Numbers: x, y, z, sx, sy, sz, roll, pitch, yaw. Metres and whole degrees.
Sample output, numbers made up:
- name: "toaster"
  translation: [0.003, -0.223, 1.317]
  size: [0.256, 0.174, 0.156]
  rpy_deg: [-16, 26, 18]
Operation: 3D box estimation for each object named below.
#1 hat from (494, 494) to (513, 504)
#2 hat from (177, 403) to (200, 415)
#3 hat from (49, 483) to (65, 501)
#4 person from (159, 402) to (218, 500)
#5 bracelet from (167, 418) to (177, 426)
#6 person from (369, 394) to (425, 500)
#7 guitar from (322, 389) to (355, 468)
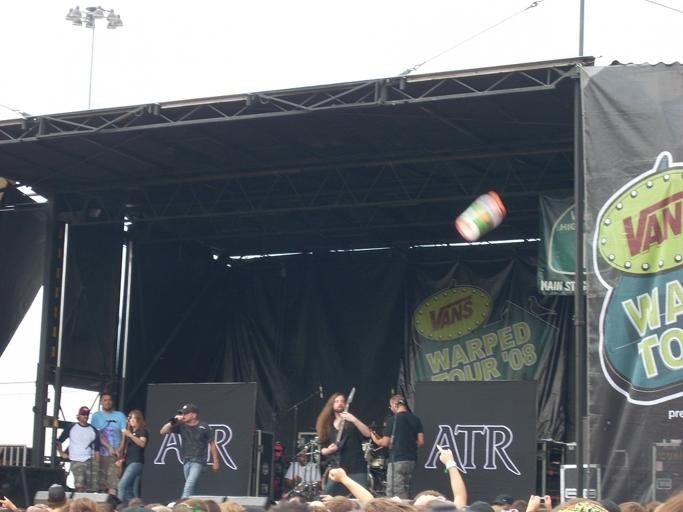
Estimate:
- name: "hat"
  translation: [2.457, 3.655, 22.867]
  size: [0.289, 0.134, 0.210]
  rpy_deg: [14, -16, -9]
- name: "hat"
  translation: [-2.627, 2.630, 26.063]
  size: [0.364, 0.175, 0.241]
  rpy_deg: [11, -12, -13]
- name: "hat"
  translation: [-3.996, 3.339, 21.457]
  size: [0.178, 0.151, 0.275]
  rpy_deg: [1, 8, -11]
- name: "person"
  translation: [-2.610, 3.433, 26.372]
  size: [1.118, 1.941, 0.949]
  rpy_deg: [19, -33, -37]
- name: "bracelet"
  translation: [-2.871, 2.825, 26.134]
  size: [0.115, 0.046, 0.142]
  rpy_deg: [1, -49, 10]
- name: "person"
  translation: [1.037, 3.312, 25.915]
  size: [0.823, 1.919, 0.631]
  rpy_deg: [-4, 25, -2]
- name: "guitar"
  translation: [-0.106, 2.908, 25.445]
  size: [0.440, 1.517, 0.398]
  rpy_deg: [30, -34, -31]
